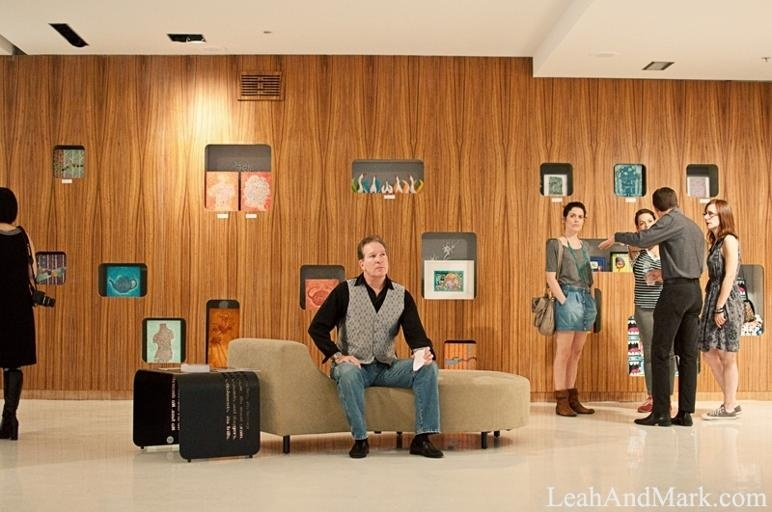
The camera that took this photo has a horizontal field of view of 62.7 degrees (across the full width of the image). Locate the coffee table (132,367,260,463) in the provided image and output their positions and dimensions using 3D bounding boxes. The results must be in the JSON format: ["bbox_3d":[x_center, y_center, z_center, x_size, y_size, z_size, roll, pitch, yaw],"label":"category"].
[{"bbox_3d":[-1.259,1.044,4.829,0.763,0.637,0.943,-1,7,-4],"label":"coffee table"}]

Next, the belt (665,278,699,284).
[{"bbox_3d":[2.482,0.211,5.308,0.273,0.058,0.071,-3,-5,7],"label":"belt"}]

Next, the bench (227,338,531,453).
[{"bbox_3d":[-0.061,0.956,4.790,1.461,0.558,1.089,0,-3,-7],"label":"bench"}]

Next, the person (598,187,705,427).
[{"bbox_3d":[2.397,0.424,5.382,0.652,2.025,0.291,-3,-5,12],"label":"person"}]

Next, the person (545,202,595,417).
[{"bbox_3d":[1.758,0.488,6.003,0.472,2.011,0.291,-2,-5,0],"label":"person"}]

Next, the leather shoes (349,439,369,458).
[{"bbox_3d":[-0.180,1.355,4.447,0.082,0.145,0.171,-7,-16,44],"label":"leather shoes"}]

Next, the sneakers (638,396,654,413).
[{"bbox_3d":[2.530,1.443,6.125,0.129,0.155,0.383,-6,-11,31],"label":"sneakers"}]

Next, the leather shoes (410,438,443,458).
[{"bbox_3d":[0.271,1.347,4.462,0.100,0.102,0.263,3,-7,-39],"label":"leather shoes"}]

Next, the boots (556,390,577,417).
[{"bbox_3d":[1.680,1.374,5.893,0.187,0.232,0.182,-3,-5,4],"label":"boots"}]

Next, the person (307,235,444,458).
[{"bbox_3d":[-0.090,0.640,4.529,0.912,1.570,0.321,-2,-5,1],"label":"person"}]

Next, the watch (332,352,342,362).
[{"bbox_3d":[-0.345,0.715,4.488,0.065,0.020,0.065,2,7,25],"label":"watch"}]

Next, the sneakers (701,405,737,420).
[{"bbox_3d":[2.979,1.418,5.711,0.350,0.131,0.115,2,-8,0],"label":"sneakers"}]
